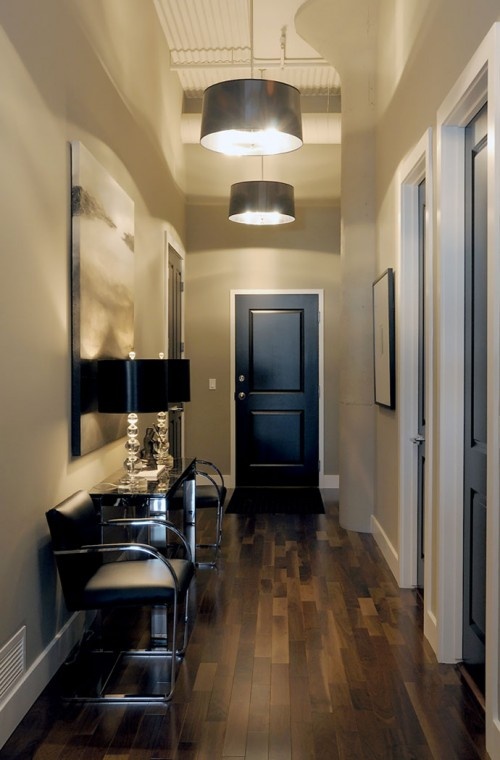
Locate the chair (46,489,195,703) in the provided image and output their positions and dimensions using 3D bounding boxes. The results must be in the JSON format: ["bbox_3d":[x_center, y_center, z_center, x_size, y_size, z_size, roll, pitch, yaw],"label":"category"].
[{"bbox_3d":[-0.501,0.839,2.355,0.501,0.743,0.888,-1,-1,1],"label":"chair"}]

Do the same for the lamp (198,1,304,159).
[{"bbox_3d":[0.001,-1.755,2.977,0.478,0.968,0.664,0,9,2],"label":"lamp"}]
